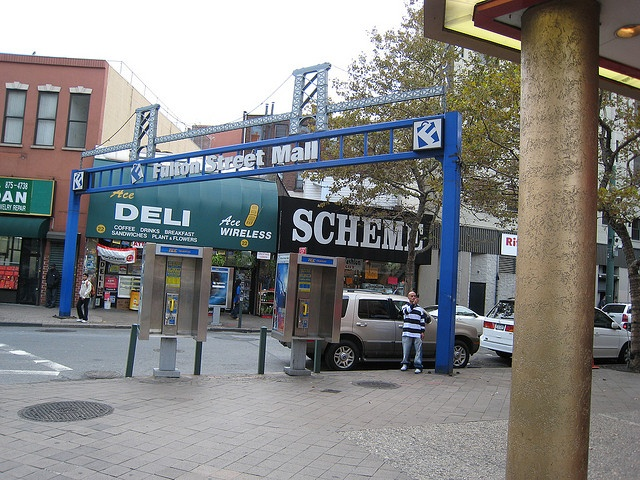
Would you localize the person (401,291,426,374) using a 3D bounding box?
[{"bbox_3d":[2.367,2.356,13.569,0.586,1.991,1.115,2,-3,12],"label":"person"}]

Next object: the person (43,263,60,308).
[{"bbox_3d":[-11.918,2.057,23.640,0.526,1.453,1.042,4,-3,-27],"label":"person"}]

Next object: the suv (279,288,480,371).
[{"bbox_3d":[1.824,2.436,14.859,5.263,2.277,2.173,0,-3,-17],"label":"suv"}]

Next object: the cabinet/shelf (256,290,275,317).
[{"bbox_3d":[-2.899,3.348,28.172,0.683,1.476,0.714,3,-3,-19],"label":"cabinet/shelf"}]

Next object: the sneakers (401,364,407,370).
[{"bbox_3d":[2.116,3.217,13.379,0.156,0.156,0.300,2,-3,9],"label":"sneakers"}]

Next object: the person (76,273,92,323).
[{"bbox_3d":[-8.817,2.130,19.891,0.484,1.275,1.908,4,-3,-24],"label":"person"}]
